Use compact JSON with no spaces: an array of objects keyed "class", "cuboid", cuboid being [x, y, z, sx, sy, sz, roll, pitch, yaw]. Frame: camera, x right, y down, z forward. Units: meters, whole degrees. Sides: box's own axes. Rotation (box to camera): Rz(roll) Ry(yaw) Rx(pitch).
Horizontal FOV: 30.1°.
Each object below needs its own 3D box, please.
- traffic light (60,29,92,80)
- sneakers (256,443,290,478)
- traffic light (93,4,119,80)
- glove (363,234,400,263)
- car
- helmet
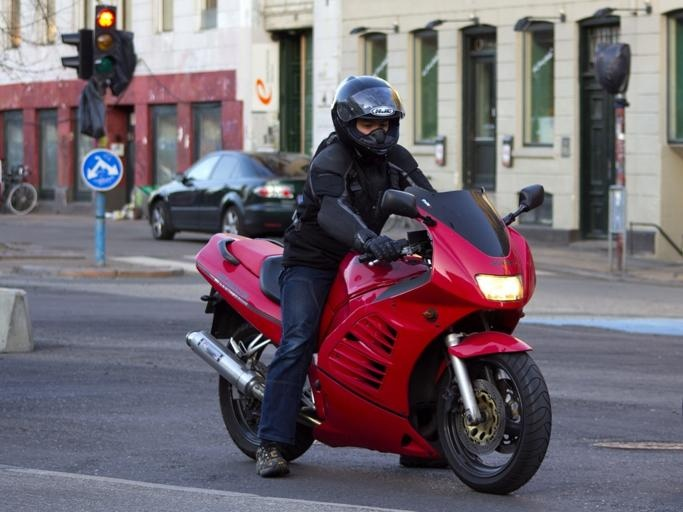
[{"class":"traffic light","cuboid":[-3.950,-2.995,18.955,0.384,0.742,0.776,-4,3,-25]},{"class":"sneakers","cuboid":[-0.540,1.483,9.365,0.221,0.256,0.493,2,-4,-24]},{"class":"traffic light","cuboid":[-3.506,-3.173,18.856,0.402,1.078,0.392,-4,3,-38]},{"class":"glove","cuboid":[0.271,-0.047,8.632,0.242,0.163,0.157,0,4,43]},{"class":"car","cuboid":[-2.022,-1.078,23.031,1.346,1.180,2.969,-3,8,-38]},{"class":"helmet","cuboid":[0.146,-1.053,9.296,0.438,0.574,0.564,-10,18,-37]}]
